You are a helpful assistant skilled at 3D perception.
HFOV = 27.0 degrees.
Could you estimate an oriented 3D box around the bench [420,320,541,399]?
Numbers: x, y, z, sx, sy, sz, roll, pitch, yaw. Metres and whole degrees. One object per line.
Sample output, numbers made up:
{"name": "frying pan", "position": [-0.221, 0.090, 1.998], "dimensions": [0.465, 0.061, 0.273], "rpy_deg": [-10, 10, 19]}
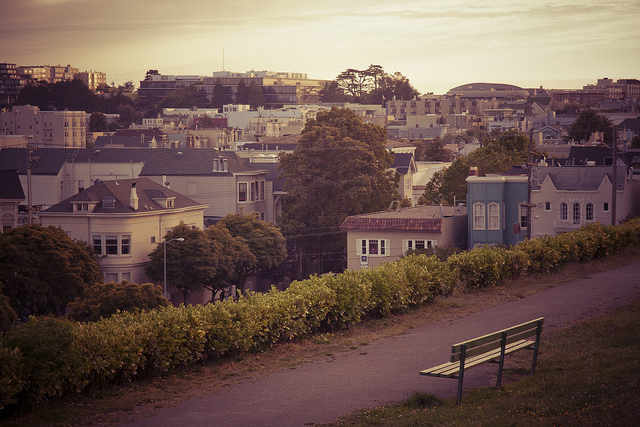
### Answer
{"name": "bench", "position": [8.717, 7.522, 70.222], "dimensions": [2.220, 3.001, 8.579], "rpy_deg": [11, 13, 40]}
